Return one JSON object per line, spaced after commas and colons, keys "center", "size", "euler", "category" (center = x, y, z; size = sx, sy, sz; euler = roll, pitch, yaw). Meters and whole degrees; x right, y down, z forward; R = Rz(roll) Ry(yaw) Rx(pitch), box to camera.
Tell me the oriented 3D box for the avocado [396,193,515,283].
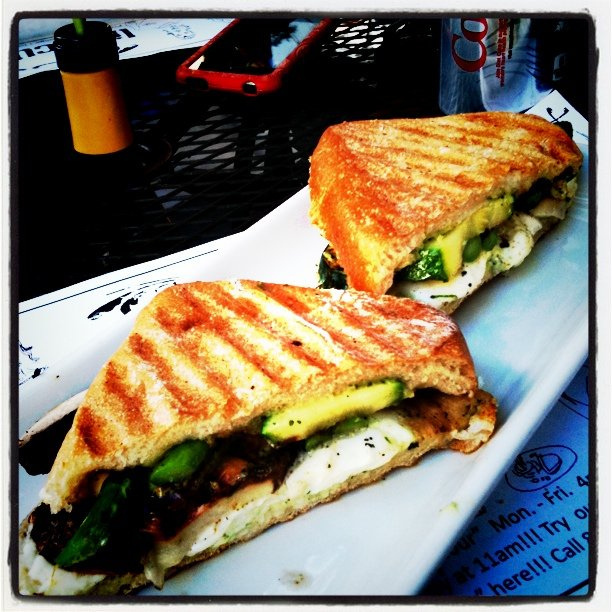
{"center": [0.421, -0.185, 1.686], "size": [0.378, 0.188, 0.095], "euler": [-25, 39, -32], "category": "avocado"}
